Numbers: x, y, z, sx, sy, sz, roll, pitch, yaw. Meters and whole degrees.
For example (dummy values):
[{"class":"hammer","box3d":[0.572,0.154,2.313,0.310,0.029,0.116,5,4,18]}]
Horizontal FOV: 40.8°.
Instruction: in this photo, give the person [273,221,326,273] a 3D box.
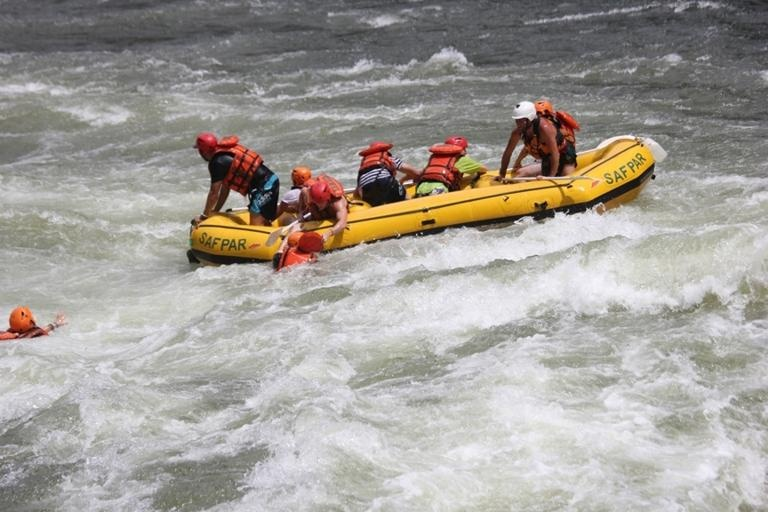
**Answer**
[{"class":"person","box3d":[-1.358,-0.099,17.786,0.677,0.575,0.746,11,30,18]}]

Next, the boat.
[{"class":"boat","box3d":[0.872,-0.848,18.454,7.952,0.983,2.734,-9,14,2]}]

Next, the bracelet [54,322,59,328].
[{"class":"bracelet","box3d":[-5.135,1.122,16.805,0.096,0.082,0.031,0,29,-18]}]

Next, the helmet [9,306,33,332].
[{"class":"helmet","box3d":[-5.638,1.033,16.578,0.376,0.368,0.353,-13,32,-22]}]

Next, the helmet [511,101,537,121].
[{"class":"helmet","box3d":[2.599,-2.577,18.339,0.474,0.197,0.323,-11,20,-40]}]

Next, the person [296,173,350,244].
[{"class":"person","box3d":[-0.914,-0.910,18.231,1.115,1.002,0.428,6,3,1]}]

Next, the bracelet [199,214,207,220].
[{"class":"bracelet","box3d":[-3.091,-0.703,18.598,0.124,0.025,0.111,-19,23,-21]}]

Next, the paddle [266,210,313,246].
[{"class":"paddle","box3d":[-1.517,-0.475,18.151,1.298,0.141,0.168,-25,-6,-8]}]
